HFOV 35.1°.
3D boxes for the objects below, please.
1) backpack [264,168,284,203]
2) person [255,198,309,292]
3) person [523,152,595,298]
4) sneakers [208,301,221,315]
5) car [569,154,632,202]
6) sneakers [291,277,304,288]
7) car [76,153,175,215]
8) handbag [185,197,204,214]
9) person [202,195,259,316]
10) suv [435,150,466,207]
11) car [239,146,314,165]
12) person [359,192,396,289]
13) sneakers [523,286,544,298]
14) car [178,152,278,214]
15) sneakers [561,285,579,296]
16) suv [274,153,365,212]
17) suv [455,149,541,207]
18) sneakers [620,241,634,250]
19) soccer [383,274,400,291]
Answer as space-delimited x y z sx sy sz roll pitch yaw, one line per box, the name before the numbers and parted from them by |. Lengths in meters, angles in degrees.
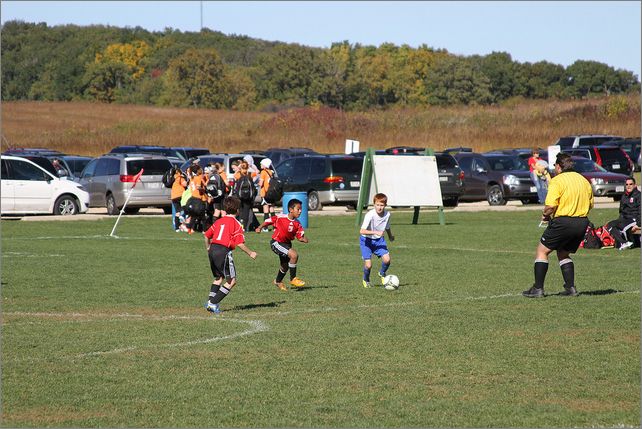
backpack | -1.245 -0.612 25.920 0.463 0.757 0.392 -2 13 -4
person | -0.652 0.504 18.214 0.744 1.643 0.903 -2 13 -4
person | 4.037 0.222 17.170 1.075 2.442 0.651 -2 13 -5
sneakers | -1.735 1.496 16.347 0.102 0.156 0.309 -19 -36 41
car | 9.801 -1.217 35.208 1.730 1.244 3.750 0 2 -19
sneakers | -0.424 1.210 18.088 0.241 0.107 0.137 -1 2 38
car | -6.214 -1.028 31.736 1.665 1.277 3.003 -2 9 -34
handbag | -3.167 -0.219 25.446 0.358 0.476 0.473 9 -6 9
person | -1.519 0.671 16.449 0.808 1.827 0.756 -2 13 -7
suv | 4.393 -1.063 34.393 1.011 1.939 1.423 1 13 6
car | -1.291 -2.255 37.807 2.138 0.789 1.069 6 8 33
person | 1.016 0.461 18.528 0.600 1.747 1.220 0 13 4
sneakers | 3.637 1.326 17.227 0.352 0.167 0.147 2 0 24
car | -2.961 -1.236 32.661 1.694 1.237 3.086 -6 15 -35
sneakers | 4.261 1.297 17.325 0.137 0.154 0.363 -2 3 -24
suv | -0.013 -1.150 32.779 1.494 1.094 2.844 -3 9 -34
suv | 6.134 -1.264 34.899 1.521 1.296 2.691 -1 0 -33
sneakers | 6.839 0.692 22.579 0.335 0.155 0.136 -18 -9 16
soccer | 1.248 1.177 17.964 0.242 0.247 0.249 -18 -37 36
